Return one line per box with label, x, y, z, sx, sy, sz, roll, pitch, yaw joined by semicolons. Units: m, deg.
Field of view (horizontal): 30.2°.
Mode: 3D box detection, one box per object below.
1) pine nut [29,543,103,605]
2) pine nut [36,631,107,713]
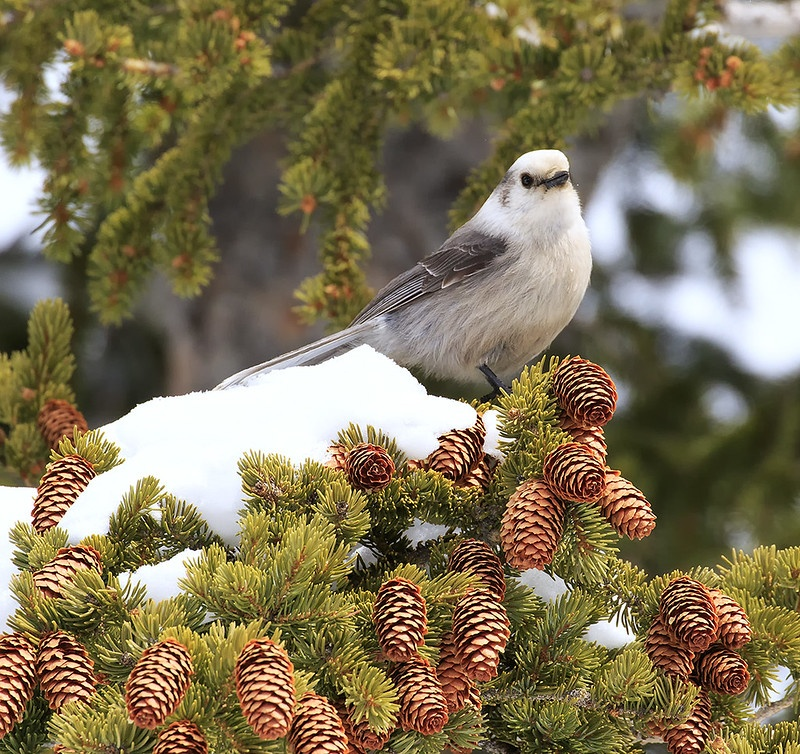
pine nut;-0.948;0.542;4.232;0.111;0.105;0.194;35;62;23
pine nut;-0.929;0.790;4.142;0.117;0.234;0.143;-11;-34;-12
